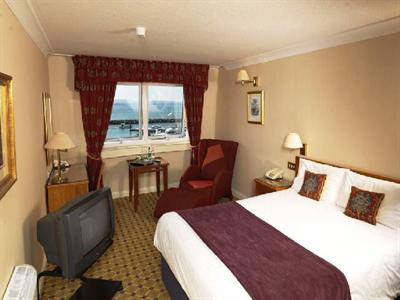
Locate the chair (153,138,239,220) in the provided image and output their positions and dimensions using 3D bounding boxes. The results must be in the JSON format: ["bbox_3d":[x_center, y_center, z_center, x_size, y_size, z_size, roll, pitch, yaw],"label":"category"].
[{"bbox_3d":[-0.006,0.589,5.938,1.070,1.482,1.812,7,12,36],"label":"chair"}]

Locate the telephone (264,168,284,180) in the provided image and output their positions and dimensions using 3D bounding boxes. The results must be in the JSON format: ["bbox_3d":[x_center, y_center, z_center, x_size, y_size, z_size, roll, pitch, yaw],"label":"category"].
[{"bbox_3d":[1.467,0.457,5.327,0.257,0.116,0.204,-17,16,-35],"label":"telephone"}]

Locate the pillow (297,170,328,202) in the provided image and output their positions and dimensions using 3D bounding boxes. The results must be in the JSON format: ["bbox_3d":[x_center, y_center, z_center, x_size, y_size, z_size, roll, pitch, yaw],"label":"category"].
[{"bbox_3d":[1.785,0.558,4.459,0.534,0.557,0.132,-6,6,-7],"label":"pillow"}]

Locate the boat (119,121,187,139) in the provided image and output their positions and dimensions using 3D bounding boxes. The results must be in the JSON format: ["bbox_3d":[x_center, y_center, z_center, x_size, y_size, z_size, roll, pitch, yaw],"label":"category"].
[{"bbox_3d":[-1.230,-0.497,6.804,1.182,0.297,0.217,-9,21,-24],"label":"boat"}]

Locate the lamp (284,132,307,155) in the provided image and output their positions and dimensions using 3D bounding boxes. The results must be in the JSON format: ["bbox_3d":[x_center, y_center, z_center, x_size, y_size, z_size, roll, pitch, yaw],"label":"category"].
[{"bbox_3d":[1.758,-0.115,5.004,0.407,0.409,0.336,-4,6,-30],"label":"lamp"}]

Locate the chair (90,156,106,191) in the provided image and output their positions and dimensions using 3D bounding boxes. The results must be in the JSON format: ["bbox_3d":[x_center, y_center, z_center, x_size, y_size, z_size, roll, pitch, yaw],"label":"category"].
[{"bbox_3d":[-2.202,0.562,5.869,0.366,0.739,0.840,-3,11,-24],"label":"chair"}]

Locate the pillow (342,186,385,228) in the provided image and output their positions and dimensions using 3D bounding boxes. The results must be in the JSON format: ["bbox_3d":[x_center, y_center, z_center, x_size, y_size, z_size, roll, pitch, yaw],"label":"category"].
[{"bbox_3d":[2.226,0.759,3.741,0.117,0.421,0.424,20,1,-33],"label":"pillow"}]

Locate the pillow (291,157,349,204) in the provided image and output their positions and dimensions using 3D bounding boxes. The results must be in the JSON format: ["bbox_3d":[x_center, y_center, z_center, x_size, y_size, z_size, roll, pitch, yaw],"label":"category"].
[{"bbox_3d":[1.985,0.546,4.436,0.199,0.626,0.740,19,2,-35],"label":"pillow"}]

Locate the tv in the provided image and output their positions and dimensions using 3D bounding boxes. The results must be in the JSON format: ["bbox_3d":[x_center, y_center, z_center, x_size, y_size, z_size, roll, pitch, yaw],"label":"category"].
[{"bbox_3d":[-1.672,1.069,3.787,0.674,0.948,1.060,4,12,9],"label":"tv"}]

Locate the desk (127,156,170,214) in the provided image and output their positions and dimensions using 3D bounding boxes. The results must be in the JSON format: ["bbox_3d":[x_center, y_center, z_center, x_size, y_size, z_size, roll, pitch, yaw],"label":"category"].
[{"bbox_3d":[-1.177,0.770,6.287,0.851,0.995,0.782,-3,9,-18],"label":"desk"}]

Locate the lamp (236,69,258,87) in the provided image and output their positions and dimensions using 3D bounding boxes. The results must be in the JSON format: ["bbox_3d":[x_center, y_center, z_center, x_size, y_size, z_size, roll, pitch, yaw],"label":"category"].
[{"bbox_3d":[0.999,-1.531,5.929,0.447,0.335,0.326,0,2,-16],"label":"lamp"}]

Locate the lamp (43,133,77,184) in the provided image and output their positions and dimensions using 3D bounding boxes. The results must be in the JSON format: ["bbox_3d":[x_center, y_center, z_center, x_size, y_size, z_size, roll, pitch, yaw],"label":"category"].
[{"bbox_3d":[-2.480,0.082,4.939,0.472,0.833,0.845,-3,11,-23],"label":"lamp"}]

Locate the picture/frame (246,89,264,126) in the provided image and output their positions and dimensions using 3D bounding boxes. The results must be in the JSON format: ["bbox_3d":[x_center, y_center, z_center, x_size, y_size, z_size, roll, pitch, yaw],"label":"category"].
[{"bbox_3d":[1.214,-0.933,5.924,0.092,0.909,0.707,-5,8,-28],"label":"picture/frame"}]
